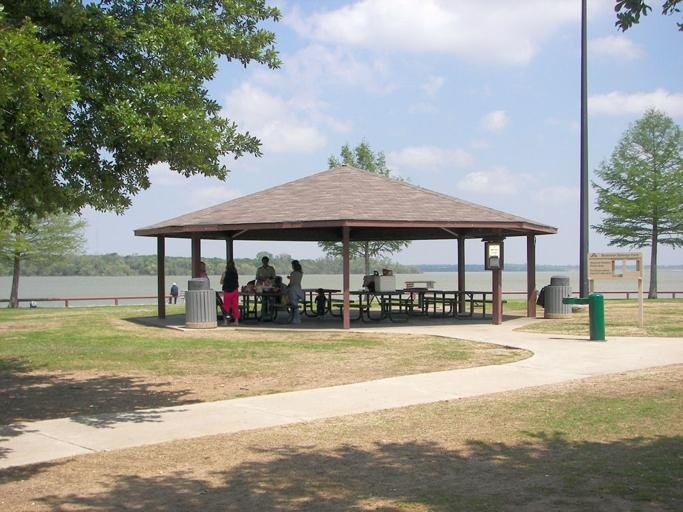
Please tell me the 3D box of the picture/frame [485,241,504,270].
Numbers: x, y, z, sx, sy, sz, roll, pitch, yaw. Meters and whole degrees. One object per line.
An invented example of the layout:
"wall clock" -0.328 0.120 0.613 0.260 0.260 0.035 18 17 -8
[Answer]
"picture/frame" 4.092 0.019 22.250 0.452 0.786 0.720 0 3 8
